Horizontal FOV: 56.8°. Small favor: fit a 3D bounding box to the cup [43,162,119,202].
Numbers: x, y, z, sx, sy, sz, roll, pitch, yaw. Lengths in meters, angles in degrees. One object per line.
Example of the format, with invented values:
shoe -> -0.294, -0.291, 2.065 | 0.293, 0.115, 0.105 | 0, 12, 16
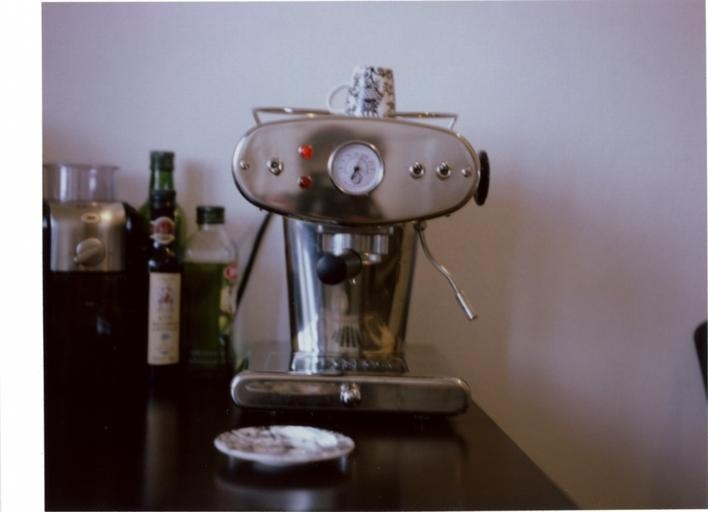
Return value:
cup -> -0.465, -0.107, 1.124 | 0.085, 0.059, 0.093 | 3, 1, 24
